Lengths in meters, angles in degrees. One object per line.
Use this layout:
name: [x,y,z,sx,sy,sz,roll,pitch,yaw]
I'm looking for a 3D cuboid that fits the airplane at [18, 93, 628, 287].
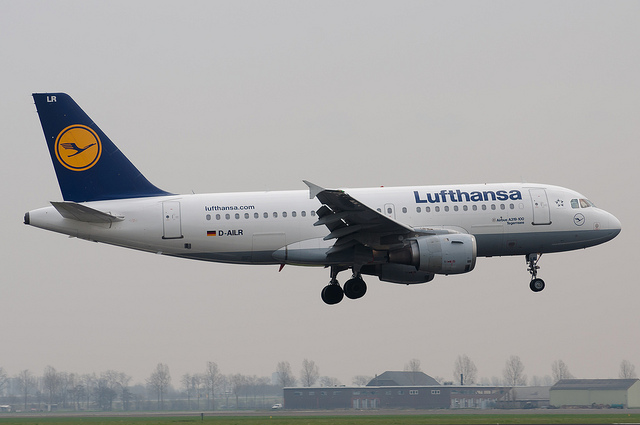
airplane: [0.379,-1.102,57.270,25.928,8.110,21.791,-2,2,-5]
